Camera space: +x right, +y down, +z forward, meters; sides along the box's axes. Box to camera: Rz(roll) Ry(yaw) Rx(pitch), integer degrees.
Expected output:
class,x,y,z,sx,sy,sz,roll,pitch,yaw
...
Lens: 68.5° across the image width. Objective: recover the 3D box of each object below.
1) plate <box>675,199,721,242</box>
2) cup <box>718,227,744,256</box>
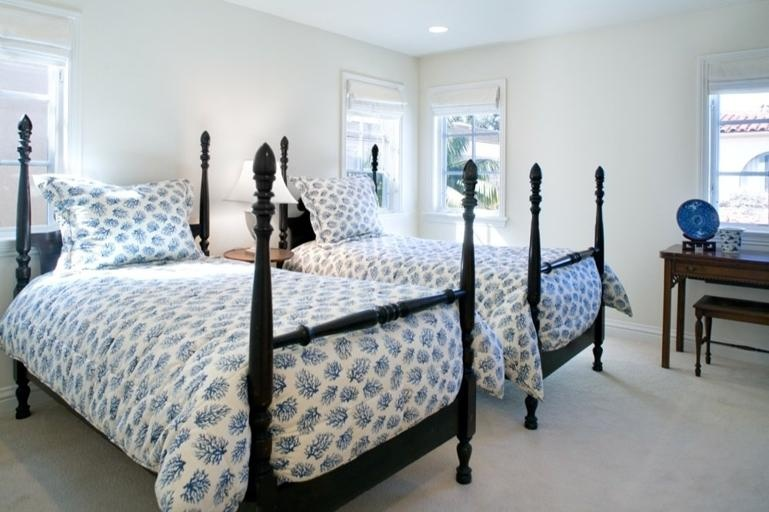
class,x,y,z,sx,sy,sz,roll,pitch,yaw
plate,2.619,-0.301,4.705,0.259,0.328,0.230,-3,11,-12
cup,2.794,-0.133,4.595,0.209,0.236,0.207,0,7,0
